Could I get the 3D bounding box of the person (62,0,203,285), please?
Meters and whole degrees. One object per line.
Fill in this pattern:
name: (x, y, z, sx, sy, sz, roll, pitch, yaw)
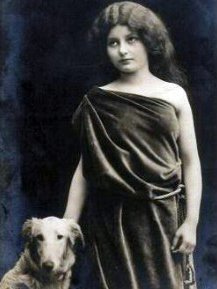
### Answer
person: (0.229, 0.033, 5.685, 1.021, 2.054, 0.586, 11, -13, -4)
